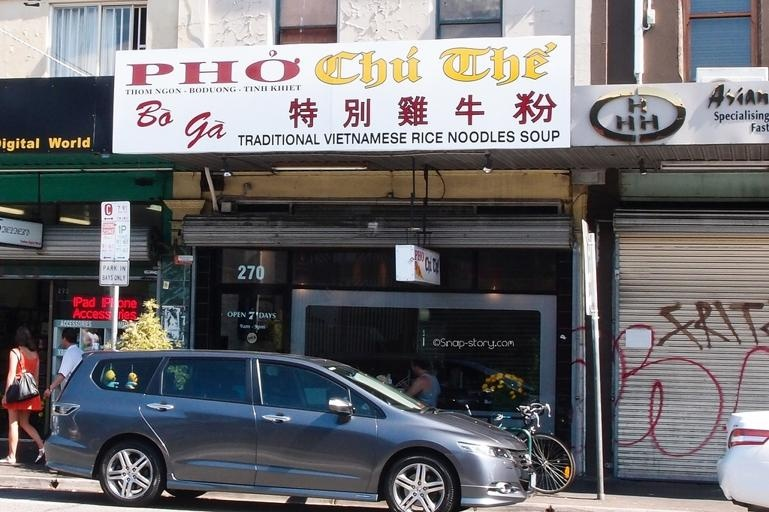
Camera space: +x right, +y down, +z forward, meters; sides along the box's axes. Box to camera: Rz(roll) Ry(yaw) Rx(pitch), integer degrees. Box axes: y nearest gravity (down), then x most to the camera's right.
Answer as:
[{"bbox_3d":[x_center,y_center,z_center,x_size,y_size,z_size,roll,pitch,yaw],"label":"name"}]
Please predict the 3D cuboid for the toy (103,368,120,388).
[{"bbox_3d":[-4.260,1.897,20.421,0.238,0.250,0.243,-8,-9,43],"label":"toy"}]

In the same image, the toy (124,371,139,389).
[{"bbox_3d":[-3.923,1.932,20.386,0.228,0.308,0.221,-1,-5,-25],"label":"toy"}]

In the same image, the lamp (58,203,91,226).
[{"bbox_3d":[-5.876,-0.784,24.828,0.525,0.444,0.120,-1,0,6],"label":"lamp"}]

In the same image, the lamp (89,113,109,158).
[{"bbox_3d":[-4.916,-2.125,22.811,0.328,0.676,0.143,0,-4,-2],"label":"lamp"}]

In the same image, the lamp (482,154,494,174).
[{"bbox_3d":[1.765,-1.597,22.566,0.202,0.342,0.190,5,33,0],"label":"lamp"}]

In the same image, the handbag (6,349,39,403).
[{"bbox_3d":[-6.345,2.097,22.962,0.543,0.938,0.235,2,-4,-20],"label":"handbag"}]

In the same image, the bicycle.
[{"bbox_3d":[1.936,3.245,21.556,2.560,1.480,0.558,-2,-21,-20],"label":"bicycle"}]

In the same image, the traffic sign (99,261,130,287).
[{"bbox_3d":[-4.415,0.286,21.440,0.517,0.404,0.272,0,-4,8],"label":"traffic sign"}]
